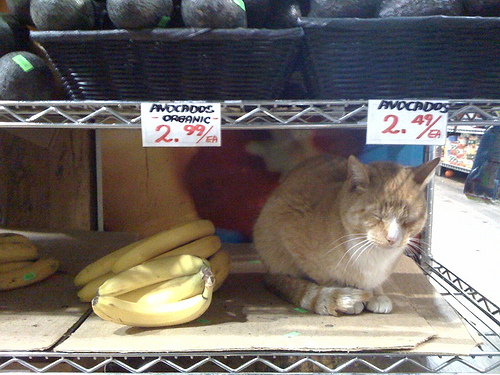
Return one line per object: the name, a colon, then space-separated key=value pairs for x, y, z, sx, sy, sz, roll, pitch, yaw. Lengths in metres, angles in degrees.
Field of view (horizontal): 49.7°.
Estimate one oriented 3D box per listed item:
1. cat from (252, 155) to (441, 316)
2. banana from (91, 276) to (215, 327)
cat: x=0.300 y=0.175 z=2.099 sx=0.684 sy=0.565 sz=0.785 roll=2 pitch=15 yaw=-2
banana: x=-0.303 y=0.406 z=1.788 sx=0.419 sy=0.116 sz=0.107 roll=4 pitch=31 yaw=-36
